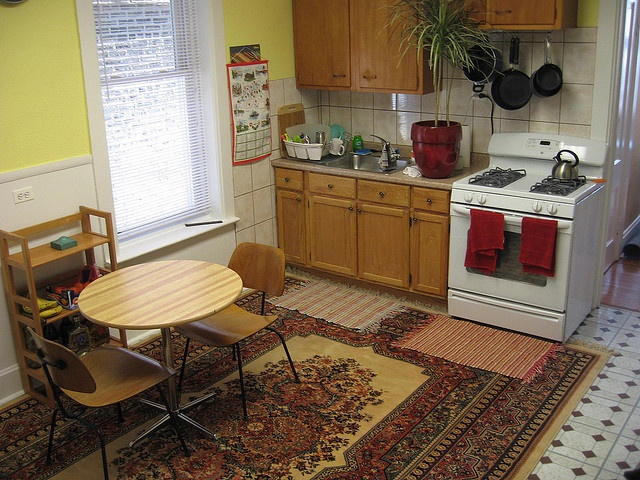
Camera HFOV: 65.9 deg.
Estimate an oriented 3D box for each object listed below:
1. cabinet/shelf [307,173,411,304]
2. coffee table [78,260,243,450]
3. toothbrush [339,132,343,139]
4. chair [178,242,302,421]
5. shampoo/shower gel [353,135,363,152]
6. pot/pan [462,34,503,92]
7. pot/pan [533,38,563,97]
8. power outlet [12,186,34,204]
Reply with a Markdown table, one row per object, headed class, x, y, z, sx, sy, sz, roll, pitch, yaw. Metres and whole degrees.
| class | x | y | z | sx | sy | sz | roll | pitch | yaw |
| --- | --- | --- | --- | --- | --- | --- | --- | --- | --- |
| cabinet/shelf | 0.396 | -0.032 | 4.516 | 1.402 | 0.894 | 0.534 | 8 | 22 | 28 |
| coffee table | -0.779 | 0.645 | 2.931 | 0.952 | 0.778 | 0.787 | 12 | 47 | -3 |
| toothbrush | 0.227 | -1.058 | 5.039 | 0.015 | 0.044 | 0.060 | 7 | 5 | -40 |
| chair | -0.526 | 0.554 | 3.297 | 1.087 | 0.850 | 0.888 | -4 | 22 | 8 |
| shampoo/shower gel | 0.393 | -0.971 | 5.009 | 0.101 | 0.153 | 0.150 | -2 | 23 | 4 |
| pot/pan | 1.363 | -1.425 | 4.062 | 0.348 | 0.432 | 0.213 | 4 | 24 | 27 |
| pot/pan | 1.829 | -1.364 | 3.965 | 0.308 | 0.431 | 0.078 | -1 | 9 | -7 |
| power outlet | -1.976 | -0.292 | 3.242 | 0.035 | 0.077 | 0.139 | 2 | 10 | 37 |
